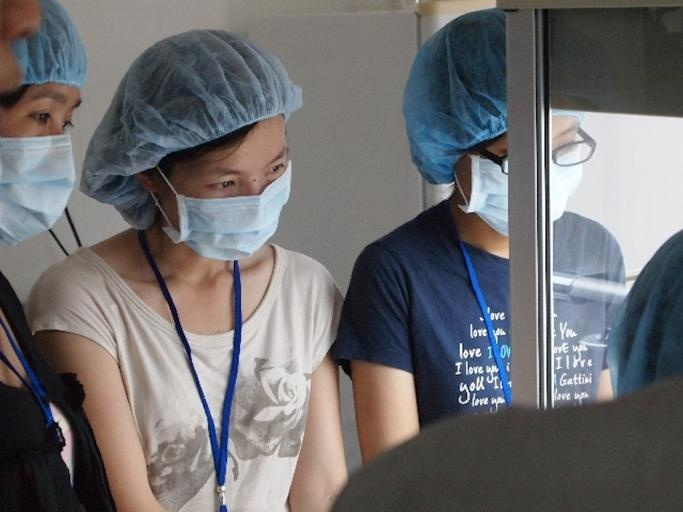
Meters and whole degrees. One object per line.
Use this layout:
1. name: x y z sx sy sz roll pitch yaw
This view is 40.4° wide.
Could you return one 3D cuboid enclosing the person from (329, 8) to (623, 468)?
1. person: 0.311 0.238 2.065 0.584 1.467 0.374 -13 24 -20
